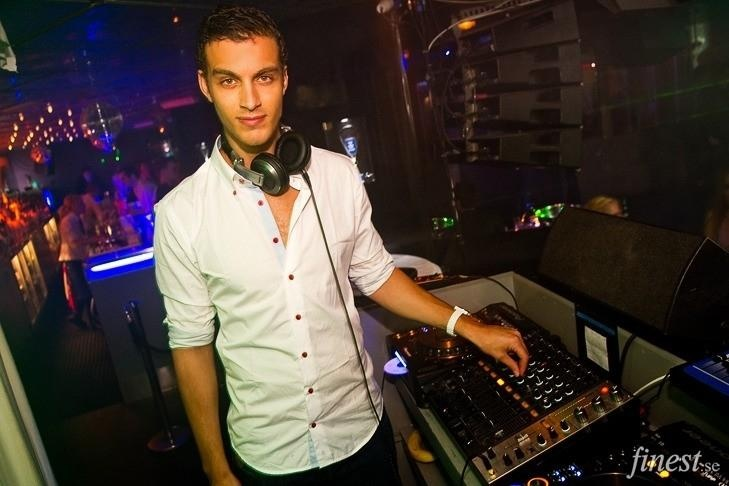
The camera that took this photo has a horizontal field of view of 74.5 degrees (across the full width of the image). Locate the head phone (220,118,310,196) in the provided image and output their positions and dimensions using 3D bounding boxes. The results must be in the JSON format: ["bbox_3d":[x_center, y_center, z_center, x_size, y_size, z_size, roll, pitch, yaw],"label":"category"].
[{"bbox_3d":[-0.397,-0.341,1.917,0.262,0.300,0.117,-53,-2,-33],"label":"head phone"}]
